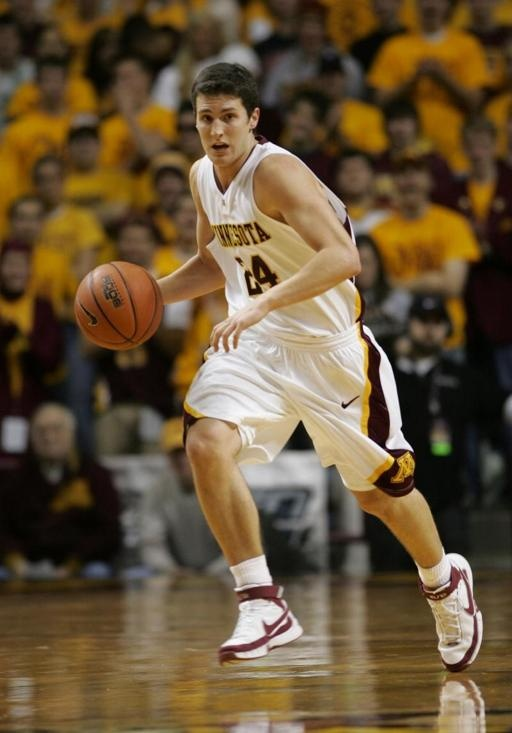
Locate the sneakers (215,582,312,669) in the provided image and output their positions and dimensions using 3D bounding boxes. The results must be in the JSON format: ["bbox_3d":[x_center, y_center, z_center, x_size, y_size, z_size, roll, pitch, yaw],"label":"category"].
[{"bbox_3d":[-0.042,0.624,1.943,0.096,0.171,0.293,-22,-11,37],"label":"sneakers"}]

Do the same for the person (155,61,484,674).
[{"bbox_3d":[0.148,0.032,2.173,0.729,1.690,1.020,-12,17,-2],"label":"person"}]
